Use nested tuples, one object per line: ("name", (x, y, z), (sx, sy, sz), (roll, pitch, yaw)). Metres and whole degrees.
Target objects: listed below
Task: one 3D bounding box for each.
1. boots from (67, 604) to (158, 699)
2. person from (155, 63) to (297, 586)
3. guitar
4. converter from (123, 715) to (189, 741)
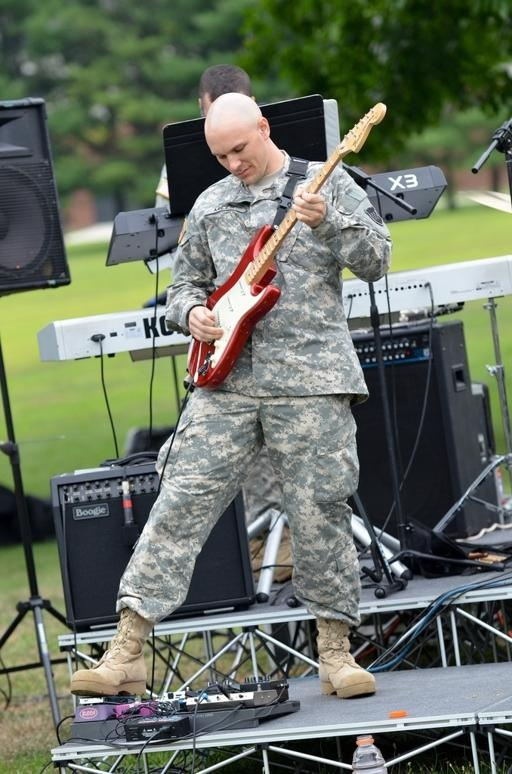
("boots", (-0.403, 0.770, 3.219), (0.101, 0.261, 0.245), (7, 19, 43))
("person", (-0.044, -0.209, 4.619), (0.255, 1.898, 0.665), (-3, -5, -29))
("guitar", (0.062, -0.371, 3.249), (0.669, 0.776, 0.310), (-5, 15, 6))
("converter", (-0.270, 0.926, 3.126), (0.176, 0.066, 0.066), (-4, 14, 4))
